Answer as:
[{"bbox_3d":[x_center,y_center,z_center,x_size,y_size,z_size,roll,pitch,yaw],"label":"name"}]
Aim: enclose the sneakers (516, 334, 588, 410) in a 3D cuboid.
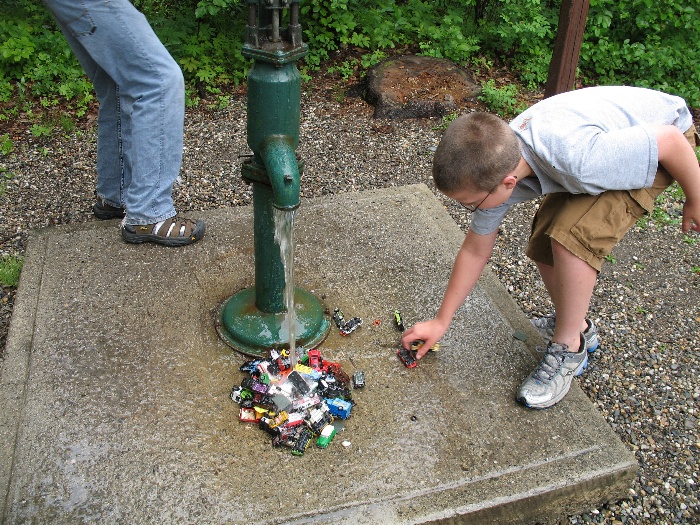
[{"bbox_3d":[0.889,0.459,2.756,0.457,0.169,0.160,-31,34,-34],"label":"sneakers"}]
